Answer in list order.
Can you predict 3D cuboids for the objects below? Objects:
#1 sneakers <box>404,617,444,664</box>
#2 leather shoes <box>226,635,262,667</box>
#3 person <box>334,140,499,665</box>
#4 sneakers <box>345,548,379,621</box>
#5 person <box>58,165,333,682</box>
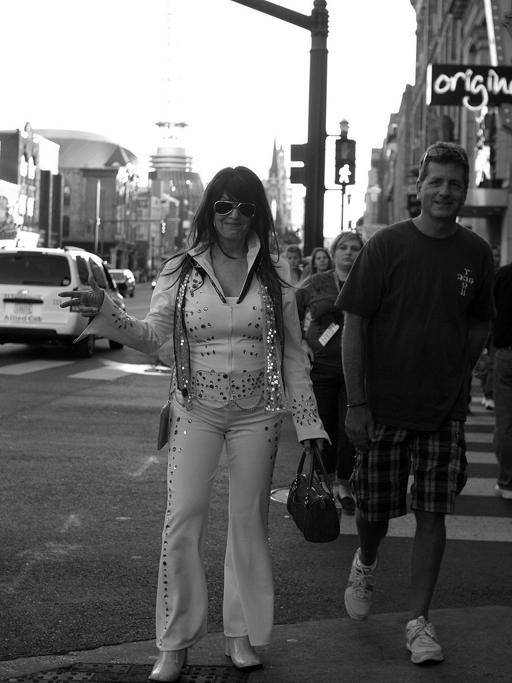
[{"bbox_3d":[0.599,1.054,2.936,0.124,0.144,0.204,2,1,8],"label":"sneakers"},{"bbox_3d":[-0.044,1.056,2.843,0.086,0.083,0.133,1,1,-20],"label":"leather shoes"},{"bbox_3d":[0.600,0.164,3.112,0.600,1.804,0.469,2,1,4],"label":"person"},{"bbox_3d":[0.428,0.987,3.379,0.097,0.306,0.117,9,-24,-4],"label":"sneakers"},{"bbox_3d":[-0.167,0.222,2.920,0.820,1.491,0.454,1,1,-38],"label":"person"}]
